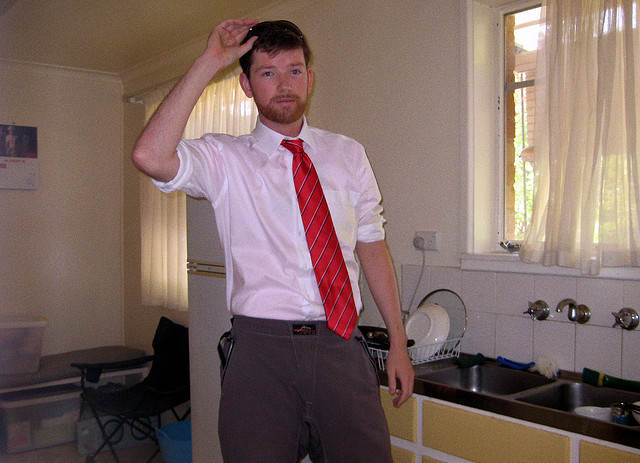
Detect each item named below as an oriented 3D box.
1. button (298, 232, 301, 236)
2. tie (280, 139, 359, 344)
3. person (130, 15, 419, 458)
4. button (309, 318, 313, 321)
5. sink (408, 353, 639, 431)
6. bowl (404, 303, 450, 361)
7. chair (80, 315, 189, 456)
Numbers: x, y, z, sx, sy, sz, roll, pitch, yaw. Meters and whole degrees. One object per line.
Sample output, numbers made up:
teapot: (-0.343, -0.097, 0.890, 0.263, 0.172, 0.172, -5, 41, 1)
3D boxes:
button: (-0.072, 0.009, 1.805, 0.009, 0.013, 0.001, -1, 0, -3)
tie: (-0.037, -0.071, 1.897, 0.128, 0.974, 0.046, -16, -13, -9)
person: (-0.135, 0.012, 1.853, 1.012, 1.575, 0.361, -1, 0, -22)
button: (-0.032, 0.306, 1.783, 0.009, 0.010, 0.003, 0, 5, -4)
sink: (0.963, 0.733, 2.426, 0.935, 0.299, 0.428, -1, 0, 35)
bowl: (0.567, 0.519, 2.673, 0.072, 0.304, 0.280, 17, -14, -39)
chair: (-1.484, 1.342, 4.552, 1.018, 1.300, 0.956, 5, -3, -34)
